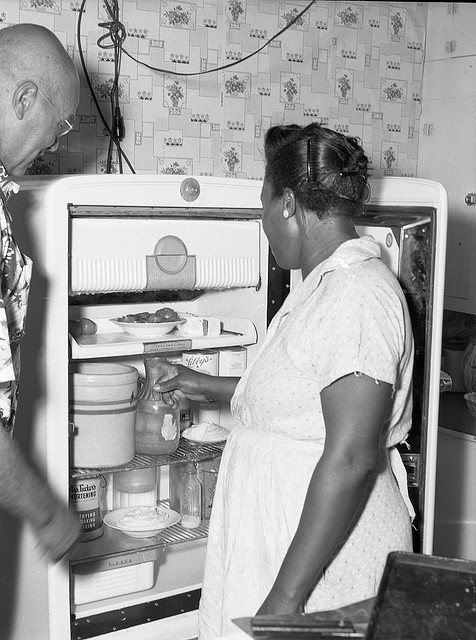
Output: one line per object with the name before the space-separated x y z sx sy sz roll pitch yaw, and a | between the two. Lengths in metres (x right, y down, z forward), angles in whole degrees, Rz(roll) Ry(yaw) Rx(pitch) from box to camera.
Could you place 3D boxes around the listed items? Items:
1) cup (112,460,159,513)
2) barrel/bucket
cup | -0.264 0.435 2.038 0.109 0.155 0.119 1 -3 0
barrel/bucket | -0.307 0.205 1.807 0.171 0.246 0.196 1 0 8
